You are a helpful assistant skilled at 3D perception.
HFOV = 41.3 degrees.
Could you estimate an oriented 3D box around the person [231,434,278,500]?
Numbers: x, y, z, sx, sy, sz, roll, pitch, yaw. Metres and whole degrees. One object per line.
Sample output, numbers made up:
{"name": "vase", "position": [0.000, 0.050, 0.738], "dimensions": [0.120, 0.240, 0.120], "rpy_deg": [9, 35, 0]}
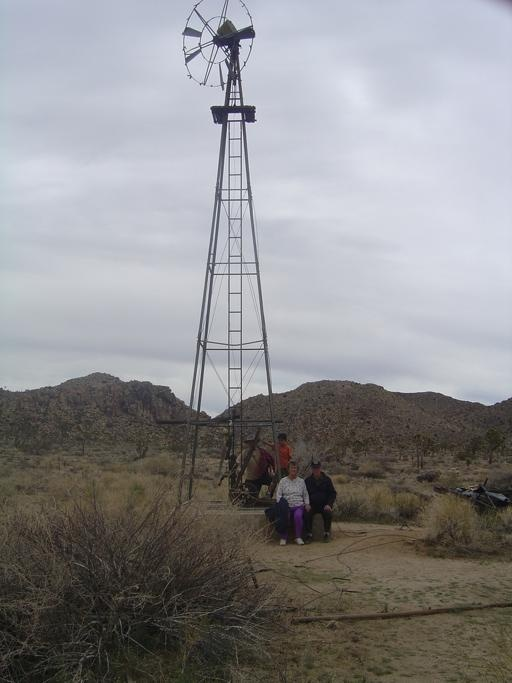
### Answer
{"name": "person", "position": [0.006, 2.890, 15.382], "dimensions": [0.960, 1.444, 0.782], "rpy_deg": [13, -28, -18]}

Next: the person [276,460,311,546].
{"name": "person", "position": [0.666, 2.918, 12.204], "dimensions": [0.614, 1.418, 0.933], "rpy_deg": [4, -5, 5]}

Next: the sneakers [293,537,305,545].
{"name": "sneakers", "position": [0.790, 3.515, 11.961], "dimensions": [0.080, 0.086, 0.214], "rpy_deg": [-1, -12, -9]}
